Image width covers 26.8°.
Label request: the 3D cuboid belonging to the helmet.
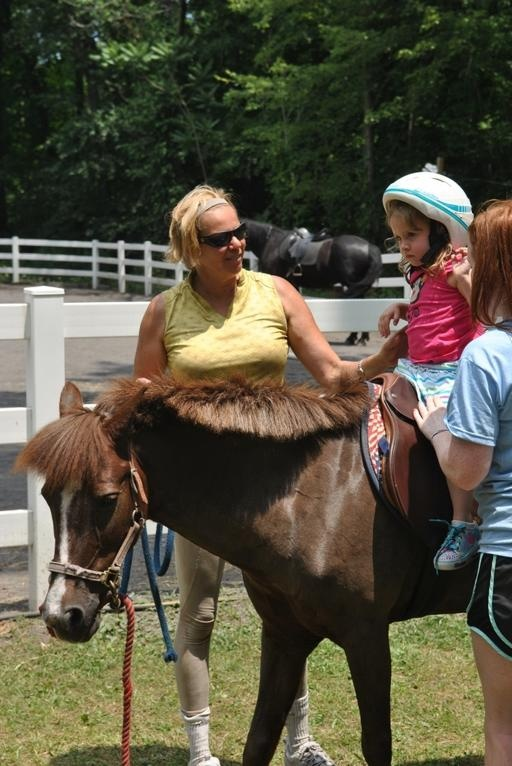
[{"bbox_3d":[0.578,-0.555,3.493,0.333,0.245,0.248,-10,21,-18],"label":"helmet"}]

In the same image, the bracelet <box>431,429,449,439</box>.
[{"bbox_3d":[0.524,0.149,3.062,0.032,0.008,0.033,-19,8,20],"label":"bracelet"}]

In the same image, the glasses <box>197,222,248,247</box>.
[{"bbox_3d":[-0.107,-0.486,3.530,0.104,0.033,0.118,-23,21,-39],"label":"glasses"}]

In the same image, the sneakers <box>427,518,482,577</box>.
[{"bbox_3d":[0.576,0.468,3.054,0.073,0.095,0.216,3,18,33],"label":"sneakers"}]

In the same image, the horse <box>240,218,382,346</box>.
[{"bbox_3d":[0.577,-1.363,13.450,2.093,1.237,0.564,6,7,21],"label":"horse"}]

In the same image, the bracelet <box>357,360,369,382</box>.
[{"bbox_3d":[0.348,-0.039,3.589,0.026,0.063,0.053,-5,1,-12],"label":"bracelet"}]
